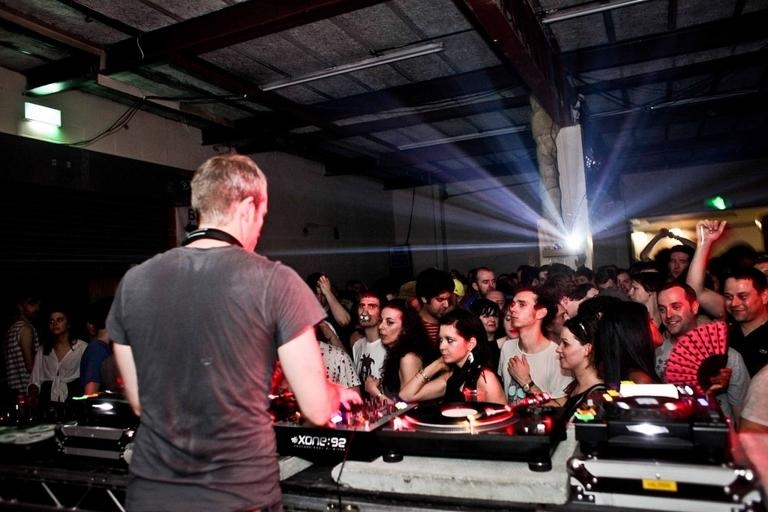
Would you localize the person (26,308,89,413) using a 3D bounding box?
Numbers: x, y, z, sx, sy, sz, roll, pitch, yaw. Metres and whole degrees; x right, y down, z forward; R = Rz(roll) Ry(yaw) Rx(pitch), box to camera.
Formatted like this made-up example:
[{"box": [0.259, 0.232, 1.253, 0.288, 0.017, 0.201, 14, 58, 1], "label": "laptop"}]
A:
[{"box": [-2.923, 0.863, 4.642, 0.401, 0.799, 0.608, 4, -5, -33], "label": "person"}]
